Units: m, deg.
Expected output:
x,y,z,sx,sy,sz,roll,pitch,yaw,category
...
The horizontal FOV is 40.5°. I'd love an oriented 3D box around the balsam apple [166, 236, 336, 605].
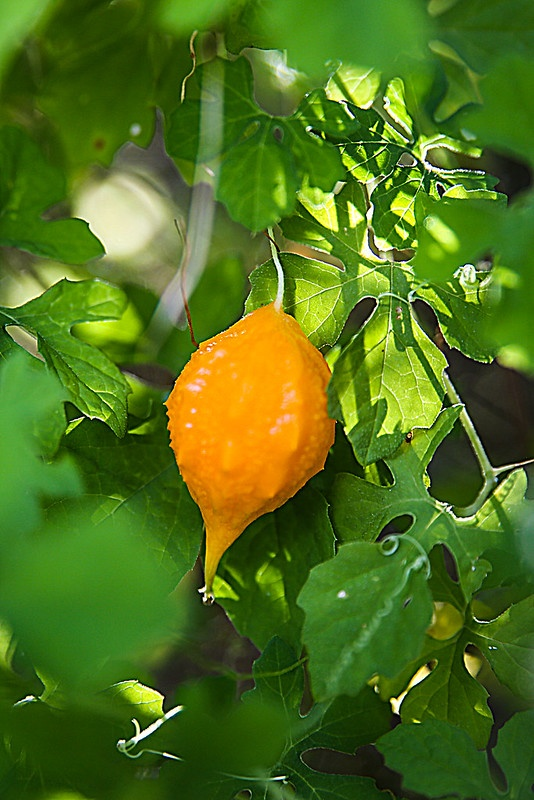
x,y,z,sx,sy,sz,roll,pitch,yaw,category
-0.007,0.013,0.444,0.095,0.063,0.165,4,104,19,balsam apple
